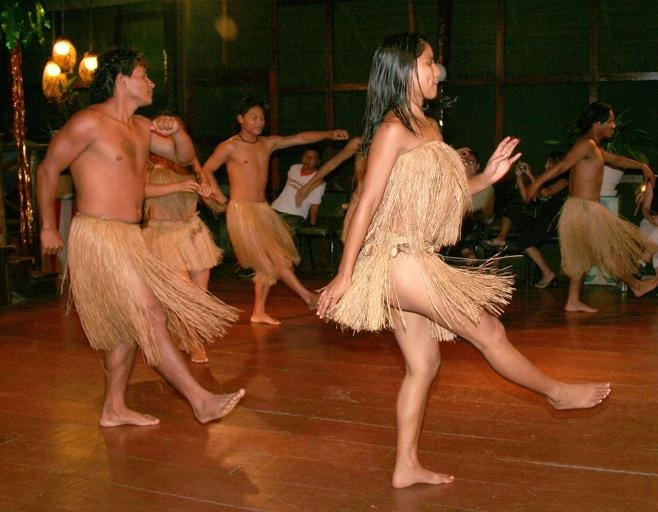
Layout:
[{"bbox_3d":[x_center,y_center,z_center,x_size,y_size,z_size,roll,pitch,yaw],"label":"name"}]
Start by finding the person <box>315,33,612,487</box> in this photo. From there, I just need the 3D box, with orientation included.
[{"bbox_3d":[0.384,0.016,2.265,0.859,1.513,0.365,-2,10,-3],"label":"person"}]

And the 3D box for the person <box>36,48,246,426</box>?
[{"bbox_3d":[-0.799,-0.071,2.729,0.765,1.560,0.571,-3,10,-9],"label":"person"}]
